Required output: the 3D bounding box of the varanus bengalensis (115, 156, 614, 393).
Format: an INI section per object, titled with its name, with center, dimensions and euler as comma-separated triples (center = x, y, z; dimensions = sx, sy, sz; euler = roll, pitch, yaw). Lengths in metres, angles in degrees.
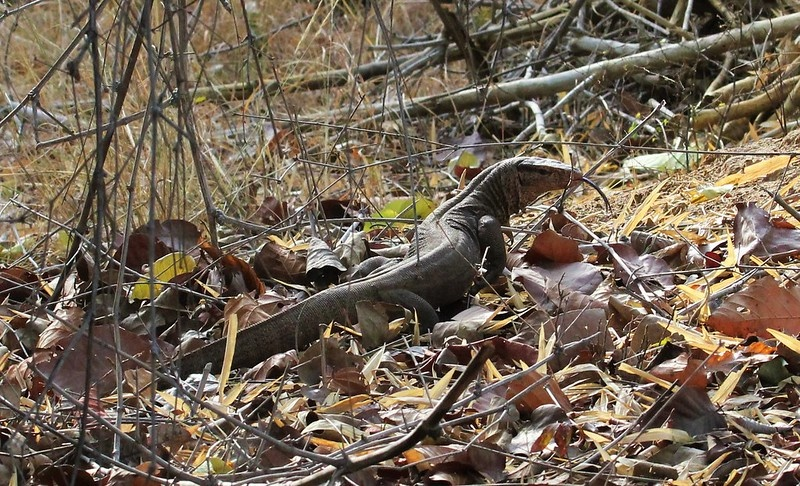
[varanus bengalensis]
center = -0.007, 0.185, 4.811
dimensions = 2.414, 0.641, 0.618
euler = -24, 34, -3
